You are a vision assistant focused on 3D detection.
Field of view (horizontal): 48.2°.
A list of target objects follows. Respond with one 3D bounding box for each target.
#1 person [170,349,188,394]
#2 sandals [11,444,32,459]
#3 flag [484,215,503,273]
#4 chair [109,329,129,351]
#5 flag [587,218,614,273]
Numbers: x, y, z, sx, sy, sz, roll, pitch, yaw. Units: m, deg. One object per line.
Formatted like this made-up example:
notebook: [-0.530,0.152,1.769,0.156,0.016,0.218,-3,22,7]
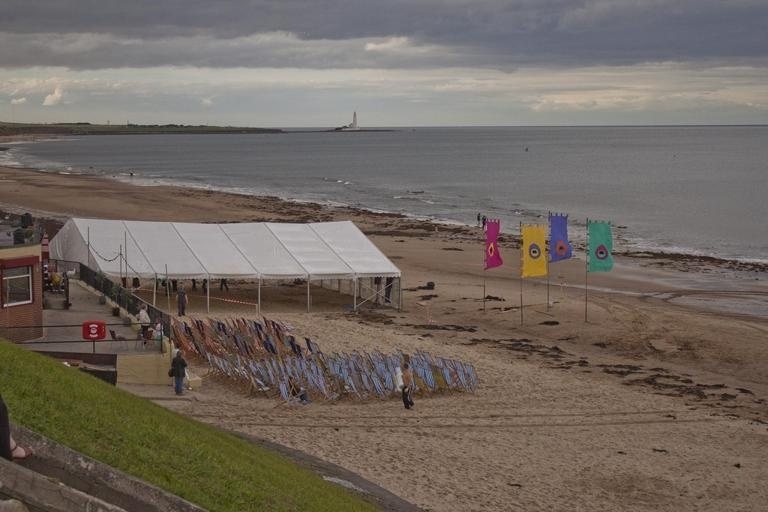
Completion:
person: [-7.297,4.049,30.298,0.568,1.726,1.283,2,15,-14]
sandals: [-8.406,4.494,19.619,0.598,0.221,0.165,6,32,-37]
flag: [5.384,-0.583,42.228,0.945,2.634,1.365,7,15,6]
chair: [-9.844,3.170,31.915,0.940,1.009,0.769,-1,6,-10]
flag: [10.355,-0.405,41.211,1.387,2.656,1.496,9,15,12]
